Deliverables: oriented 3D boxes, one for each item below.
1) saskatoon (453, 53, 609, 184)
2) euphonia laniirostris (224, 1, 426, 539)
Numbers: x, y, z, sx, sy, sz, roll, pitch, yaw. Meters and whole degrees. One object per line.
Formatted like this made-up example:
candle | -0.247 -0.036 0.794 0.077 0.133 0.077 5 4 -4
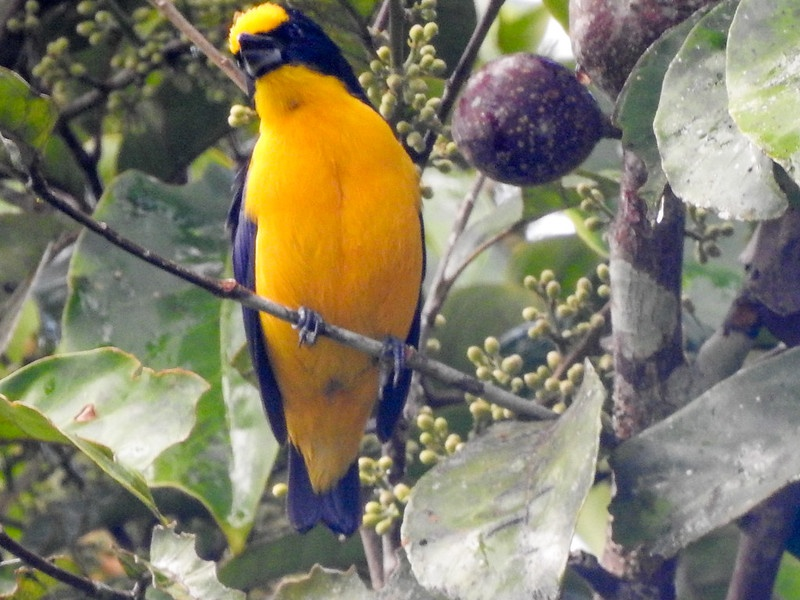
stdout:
saskatoon | 0.284 -0.372 3.417 0.315 0.237 0.237 8 86 8
euphonia laniirostris | -0.191 -0.009 4.165 0.474 1.459 0.620 0 23 -1
